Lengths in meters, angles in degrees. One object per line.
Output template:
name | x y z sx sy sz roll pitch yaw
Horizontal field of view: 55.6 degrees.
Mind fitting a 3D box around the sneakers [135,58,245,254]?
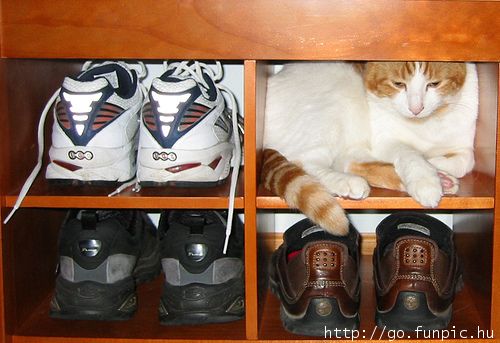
sneakers | -0.134 -0.076 1.208 0.250 0.215 0.507 3 37 1

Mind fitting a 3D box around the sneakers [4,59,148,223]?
sneakers | -0.414 -0.152 1.249 0.184 0.208 0.573 4 42 -5

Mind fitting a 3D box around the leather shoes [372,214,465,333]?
leather shoes | 0.419 0.242 1.219 0.160 0.168 0.335 -3 12 10

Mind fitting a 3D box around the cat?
cat | 0.300 -0.114 1.254 0.390 0.232 0.556 0 47 11

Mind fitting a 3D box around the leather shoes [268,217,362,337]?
leather shoes | 0.169 0.253 1.230 0.154 0.154 0.322 -1 19 4

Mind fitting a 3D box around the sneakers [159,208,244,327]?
sneakers | -0.120 0.236 1.257 0.141 0.172 0.370 -1 14 -1
